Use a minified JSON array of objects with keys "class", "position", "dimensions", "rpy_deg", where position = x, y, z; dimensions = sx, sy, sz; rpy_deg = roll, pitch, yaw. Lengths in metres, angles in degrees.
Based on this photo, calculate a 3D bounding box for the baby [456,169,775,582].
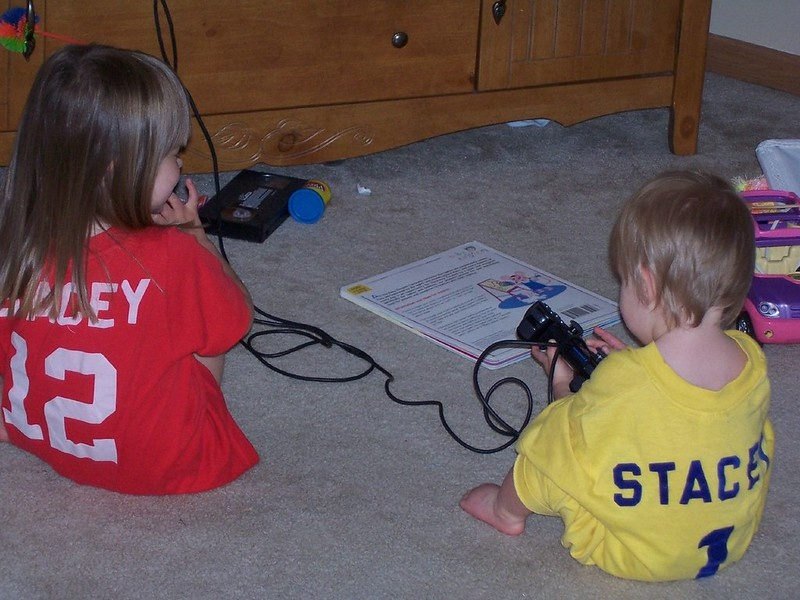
[{"class":"baby","position":[0.346,0.101,1.039],"dimensions":[0.429,0.542,0.389],"rpy_deg":[-7,16,-14]}]

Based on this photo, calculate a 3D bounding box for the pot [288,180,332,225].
[{"class":"pot","position":[-0.219,-0.243,1.789],"dimensions":[0.104,0.098,0.106],"rpy_deg":[3,22,-1]}]

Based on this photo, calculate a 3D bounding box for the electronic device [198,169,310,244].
[{"class":"electronic device","position":[-0.375,-0.232,1.735],"dimensions":[0.176,0.050,0.250],"rpy_deg":[15,38,16]}]
